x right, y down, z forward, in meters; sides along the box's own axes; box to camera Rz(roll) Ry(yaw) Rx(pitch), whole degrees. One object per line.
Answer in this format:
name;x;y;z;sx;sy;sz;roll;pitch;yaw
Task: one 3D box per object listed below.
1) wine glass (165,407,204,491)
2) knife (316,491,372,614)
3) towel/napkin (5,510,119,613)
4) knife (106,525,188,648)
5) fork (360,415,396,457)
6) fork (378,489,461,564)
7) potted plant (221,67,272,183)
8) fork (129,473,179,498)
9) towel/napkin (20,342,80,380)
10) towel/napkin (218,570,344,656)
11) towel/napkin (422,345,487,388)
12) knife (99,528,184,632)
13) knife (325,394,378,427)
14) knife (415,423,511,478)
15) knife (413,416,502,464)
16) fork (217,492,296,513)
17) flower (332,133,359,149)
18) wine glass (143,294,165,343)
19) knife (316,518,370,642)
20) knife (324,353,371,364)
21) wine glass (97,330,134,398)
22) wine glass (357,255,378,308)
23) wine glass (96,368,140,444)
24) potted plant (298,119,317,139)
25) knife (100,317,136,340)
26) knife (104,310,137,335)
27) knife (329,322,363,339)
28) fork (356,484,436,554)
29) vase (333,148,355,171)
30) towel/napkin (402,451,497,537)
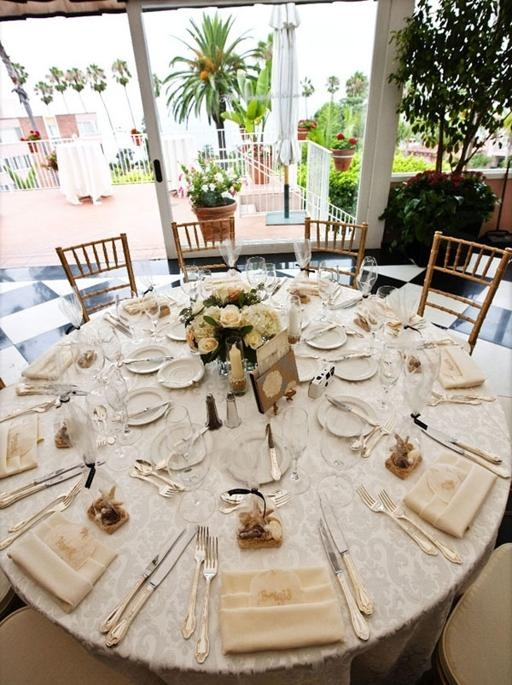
wine glass;-0.198;0.303;1.154;0.114;0.141;0.098;-32;64;-21
knife;0.189;0.465;0.941;0.033;0.012;0.249;0;25;-19
towel/napkin;-0.432;0.471;0.933;0.153;0.041;0.148;31;40;16
knife;-0.224;0.510;0.894;0.057;0.021;0.242;8;27;19
fork;0.381;0.261;1.293;0.045;0.042;0.264;23;37;25
fork;0.382;0.434;0.971;0.030;0.031;0.212;-22;32;-22
potted plant;-0.099;-2.922;5.787;0.621;1.508;0.919;-4;28;-1
fork;-0.276;0.373;1.136;0.157;0.026;0.053;18;38;36
towel/napkin;-0.783;0.083;1.620;0.172;0.053;0.201;10;36;17
towel/napkin;0.045;0.522;0.833;0.232;0.021;0.149;-4;27;-1
towel/napkin;0.692;0.060;1.431;0.190;0.058;0.186;2;39;-5
knife;-0.234;0.509;0.943;0.043;0.024;0.302;14;23;19
knife;0.312;0.212;1.325;0.105;0.017;0.086;32;37;27
knife;0.567;0.283;1.158;0.205;0.011;0.069;15;46;39
knife;0.560;0.275;1.202;0.248;0.013;0.068;17;42;37
fork;0.001;0.404;1.056;0.178;0.025;0.059;-3;42;7
flower;1.057;-2.409;5.020;0.264;0.178;0.256;0;28;5
wine glass;-0.454;-0.099;1.842;0.077;0.222;0.082;-12;55;-16
knife;0.175;0.502;0.911;0.029;0.014;0.256;0;21;-15
knife;0.355;0.059;1.581;0.083;0.011;0.076;-11;19;-32
wine glass;-0.507;0.084;1.504;0.124;0.291;0.112;-2;32;-15
wine glass;0.507;-0.280;1.928;0.095;0.048;0.219;8;70;17
wine glass;-0.441;0.210;1.325;0.087;0.238;0.079;-26;51;-23
potted plant;0.714;-2.977;5.831;0.253;0.242;0.342;0;28;6
knife;-0.632;-0.075;1.912;0.062;0.052;0.305;-17;31;-29
knife;-0.605;-0.085;1.879;0.034;0.040;0.165;-44;52;-3
knife;0.376;-0.060;1.790;0.045;0.032;0.190;-22;29;-23
fork;0.315;0.422;1.060;0.051;0.044;0.294;-19;33;-24
vase;1.034;-2.184;5.019;0.221;0.198;0.215;-9;37;-8
towel/napkin;0.493;0.365;1.042;0.139;0.063;0.193;22;46;37
